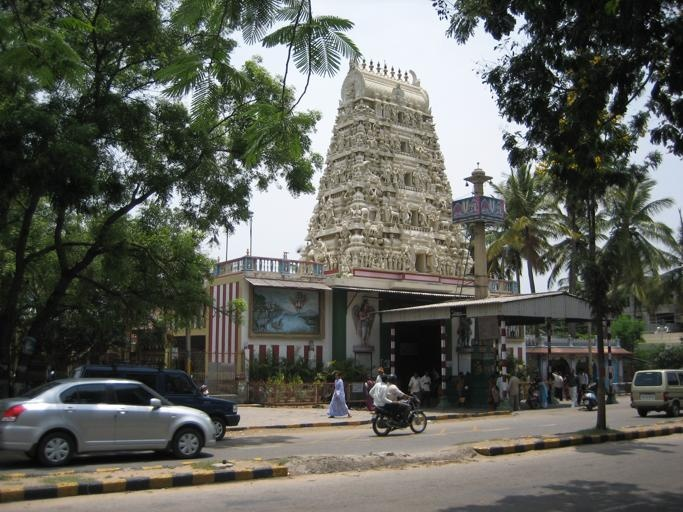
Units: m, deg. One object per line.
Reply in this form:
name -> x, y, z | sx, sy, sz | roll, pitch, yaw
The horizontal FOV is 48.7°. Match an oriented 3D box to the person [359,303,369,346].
person -> 1.222, 3.584, 40.627 | 0.255, 2.305, 0.848 | -8, -14, 35

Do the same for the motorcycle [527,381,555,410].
motorcycle -> 9.182, 6.556, 35.388 | 0.771, 1.123, 1.625 | -9, -9, 44

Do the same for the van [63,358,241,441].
van -> -4.877, 3.932, 20.780 | 3.925, 1.924, 2.259 | 5, -11, -23

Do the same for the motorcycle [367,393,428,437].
motorcycle -> 1.753, 4.933, 23.193 | 1.756, 1.179, 0.906 | 0, -9, -28

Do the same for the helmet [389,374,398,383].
helmet -> 1.596, 3.737, 22.921 | 0.288, 0.381, 0.313 | 1, -3, -7
